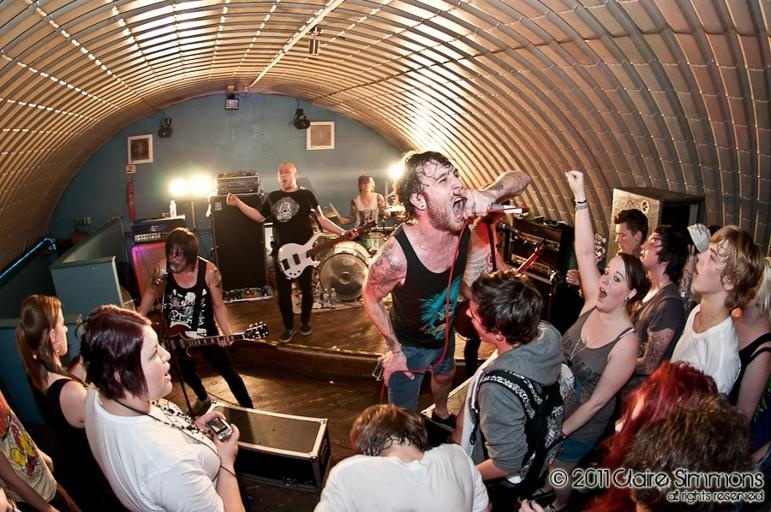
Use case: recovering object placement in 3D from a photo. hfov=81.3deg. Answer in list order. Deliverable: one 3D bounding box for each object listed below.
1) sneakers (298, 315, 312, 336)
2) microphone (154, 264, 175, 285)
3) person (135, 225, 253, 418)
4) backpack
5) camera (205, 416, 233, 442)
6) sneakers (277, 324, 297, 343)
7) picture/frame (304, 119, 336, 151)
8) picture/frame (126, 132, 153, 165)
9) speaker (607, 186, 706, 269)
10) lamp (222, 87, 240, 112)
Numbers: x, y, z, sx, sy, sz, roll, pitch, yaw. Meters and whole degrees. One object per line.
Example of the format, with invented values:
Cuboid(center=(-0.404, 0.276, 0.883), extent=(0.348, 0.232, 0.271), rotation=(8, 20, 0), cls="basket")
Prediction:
Cuboid(center=(-1.324, 1.136, 7.508), extent=(0.190, 0.340, 0.288), rotation=(-2, 5, -11), cls="sneakers")
Cuboid(center=(-2.339, 0.202, 4.772), extent=(0.089, 0.174, 0.179), rotation=(32, 48, -4), cls="microphone")
Cuboid(center=(-2.123, 1.005, 5.029), extent=(1.237, 2.637, 0.909), rotation=(-4, 26, -14), cls="person")
Cuboid(center=(0.920, 1.200, 2.968), extent=(0.652, 1.018, 0.318), rotation=(-4, 5, -33), cls="backpack")
Cuboid(center=(-1.094, 1.151, 2.978), extent=(0.102, 0.057, 0.174), rotation=(-32, 45, -32), cls="camera")
Cuboid(center=(-1.589, 1.267, 7.205), extent=(0.126, 0.118, 0.320), rotation=(4, 9, 10), cls="sneakers")
Cuboid(center=(-1.819, -3.338, 12.236), extent=(0.832, 0.815, 0.067), rotation=(-3, 8, -17), cls="picture/frame")
Cuboid(center=(-6.222, -2.735, 11.288), extent=(0.801, 0.963, 0.064), rotation=(-1, -4, -15), cls="picture/frame")
Cuboid(center=(3.234, -0.417, 5.361), extent=(1.041, 1.068, 0.771), rotation=(-6, 5, -21), cls="speaker")
Cuboid(center=(-3.906, -3.998, 11.348), extent=(0.370, 0.423, 0.706), rotation=(2, 25, -10), cls="lamp")
